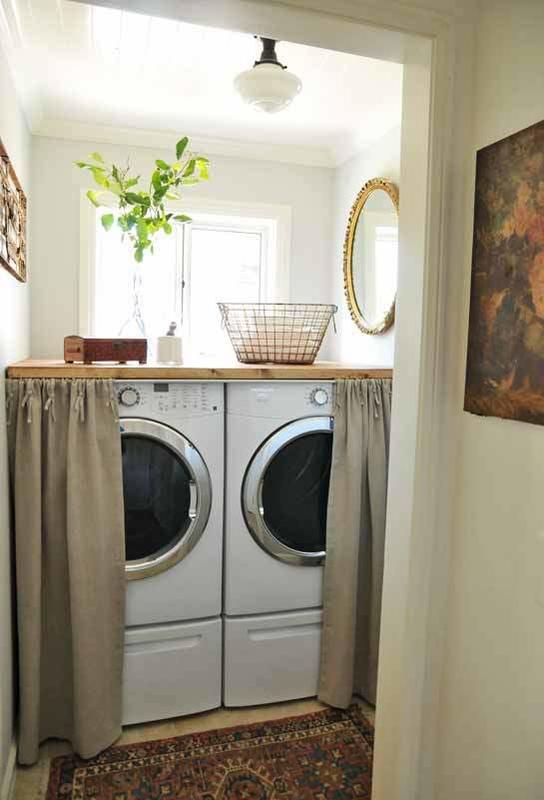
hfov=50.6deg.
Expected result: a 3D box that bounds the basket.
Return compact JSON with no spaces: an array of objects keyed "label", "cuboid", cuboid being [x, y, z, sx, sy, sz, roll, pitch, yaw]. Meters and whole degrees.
[{"label":"basket","cuboid":[0.010,-0.242,2.159,0.364,0.228,0.320,0,1,-1]}]

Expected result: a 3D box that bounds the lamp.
[{"label":"lamp","cuboid":[-0.003,-0.996,1.774,0.229,0.147,0.187,-2,4,-44]}]
